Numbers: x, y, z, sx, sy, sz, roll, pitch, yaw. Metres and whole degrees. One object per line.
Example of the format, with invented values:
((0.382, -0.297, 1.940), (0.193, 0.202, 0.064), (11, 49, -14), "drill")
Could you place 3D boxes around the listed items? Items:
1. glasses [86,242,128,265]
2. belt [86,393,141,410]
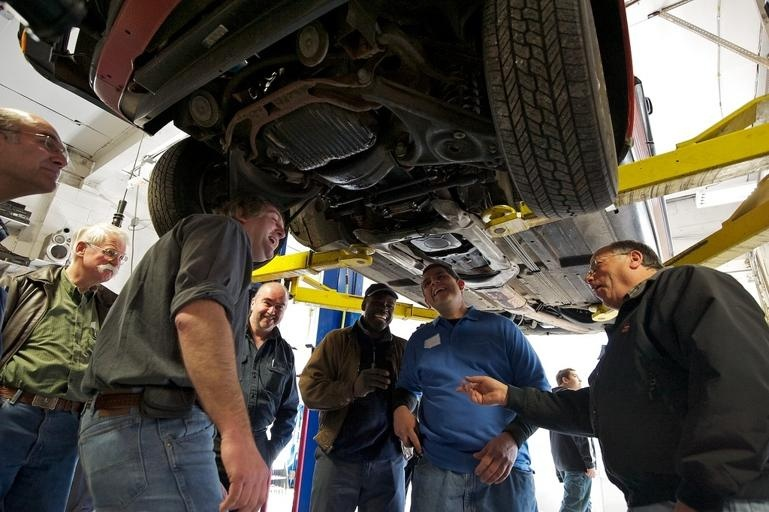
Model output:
((-1.881, -0.030, 3.122), (0.147, 0.042, 0.139), (25, -4, 20), "glasses")
((-1.049, 0.563, 1.792), (0.225, 0.065, 0.039), (-11, -26, 19), "belt")
